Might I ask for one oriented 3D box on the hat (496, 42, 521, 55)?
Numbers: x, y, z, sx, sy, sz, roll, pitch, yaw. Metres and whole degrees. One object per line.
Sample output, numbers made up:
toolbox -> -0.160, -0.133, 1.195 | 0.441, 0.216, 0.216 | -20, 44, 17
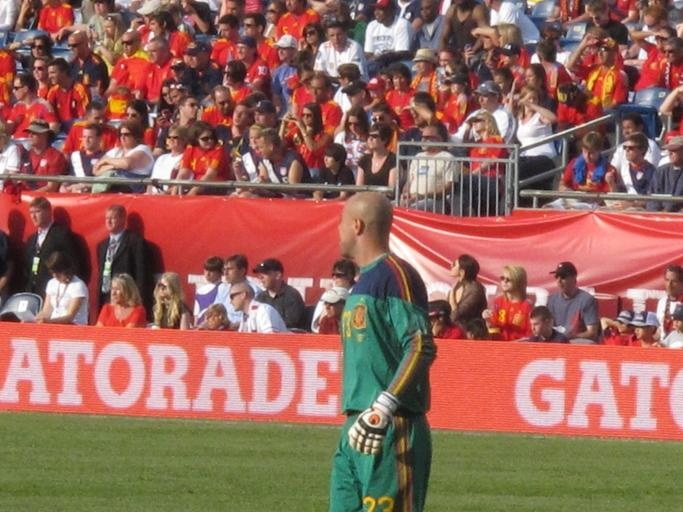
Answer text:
hat -> 2.541, -3.084, 30.089 | 0.223, 0.133, 0.164 | 9, 11, -5

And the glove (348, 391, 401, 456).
glove -> 0.357, 1.659, 20.902 | 0.423, 0.687, 0.293 | 25, 12, 1

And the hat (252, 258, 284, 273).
hat -> -0.998, 0.153, 27.353 | 0.423, 0.221, 0.368 | -1, -5, 17

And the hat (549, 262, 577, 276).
hat -> 2.959, 0.178, 26.779 | 0.344, 0.230, 0.368 | 0, -5, 7

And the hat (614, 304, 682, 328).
hat -> 4.003, 0.835, 26.478 | 0.587, 0.210, 0.378 | 1, -4, 2
